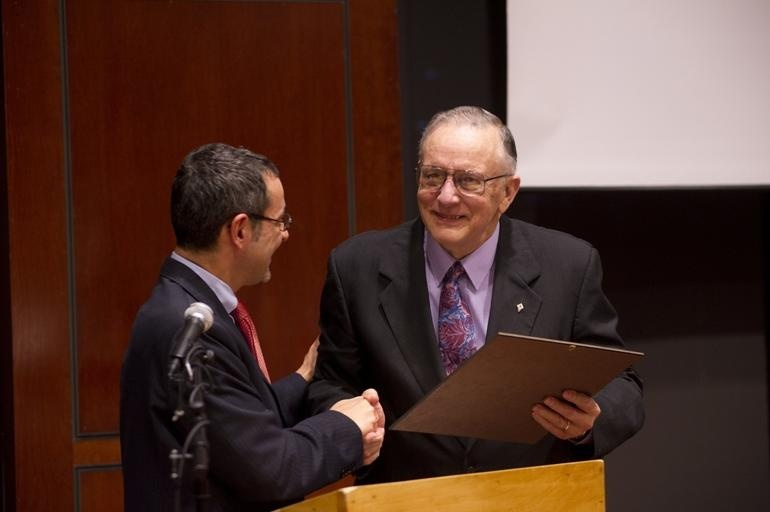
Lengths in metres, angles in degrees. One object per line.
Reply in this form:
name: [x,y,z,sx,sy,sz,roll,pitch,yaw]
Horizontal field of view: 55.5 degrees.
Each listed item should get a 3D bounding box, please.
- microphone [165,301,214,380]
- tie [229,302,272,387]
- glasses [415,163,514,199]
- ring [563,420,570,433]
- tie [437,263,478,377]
microphone: [-0.649,0.272,2.425,0.110,0.118,0.344,11,31,-1]
tie: [-0.568,0.356,3.069,0.071,0.536,0.059,-15,38,0]
glasses: [0.327,-0.300,2.958,0.378,0.128,0.097,0,-3,-1]
ring: [0.660,0.621,2.685,0.015,0.036,0.028,12,12,-8]
tie: [0.295,0.288,2.979,0.136,0.605,0.061,-6,27,0]
